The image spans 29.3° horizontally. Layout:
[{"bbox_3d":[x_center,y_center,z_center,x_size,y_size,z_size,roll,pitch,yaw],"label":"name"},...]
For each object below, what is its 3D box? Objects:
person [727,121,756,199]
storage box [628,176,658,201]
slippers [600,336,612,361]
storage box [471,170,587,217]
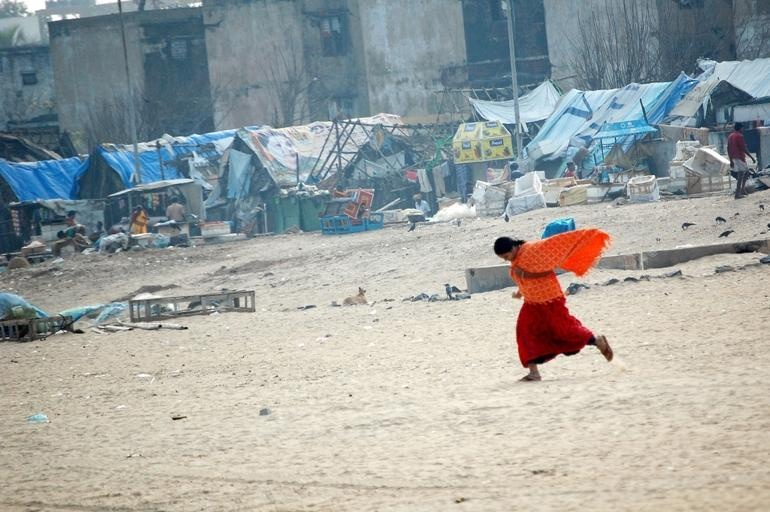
[{"bbox_3d":[11.414,-3.080,46.728,0.985,2.310,1.011,-5,7,-15],"label":"person"},{"bbox_3d":[8.676,-2.249,49.348,0.894,0.535,1.034,-2,2,12],"label":"storage box"},{"bbox_3d":[5.625,2.357,37.676,0.333,0.735,0.501,-6,9,12],"label":"slippers"},{"bbox_3d":[4.578,-2.125,51.187,3.179,1.423,2.467,3,11,44],"label":"storage box"}]
